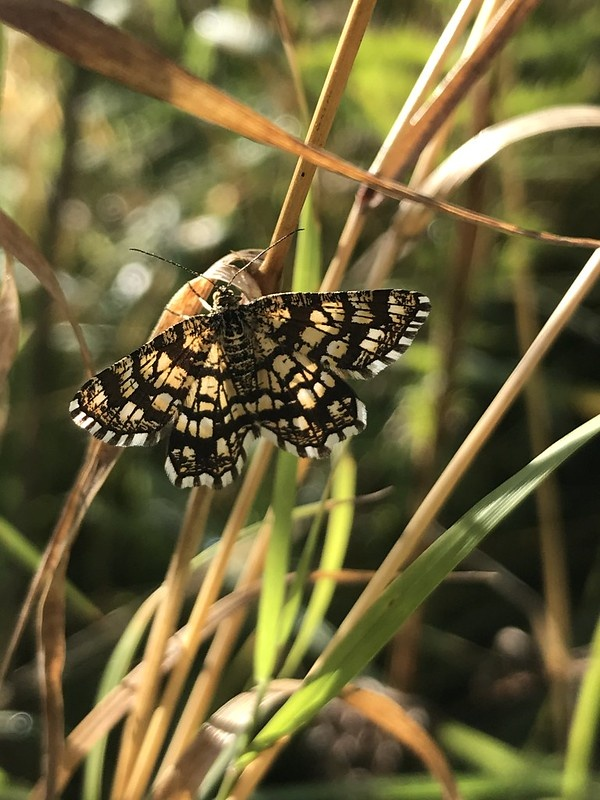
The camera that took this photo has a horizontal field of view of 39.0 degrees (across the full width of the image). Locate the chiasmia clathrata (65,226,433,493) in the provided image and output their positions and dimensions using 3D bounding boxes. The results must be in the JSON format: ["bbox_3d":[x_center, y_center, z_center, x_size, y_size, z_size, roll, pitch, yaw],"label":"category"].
[{"bbox_3d":[-0.048,-0.037,1.275,0.509,0.360,0.253,-6,-59,7],"label":"chiasmia clathrata"}]
